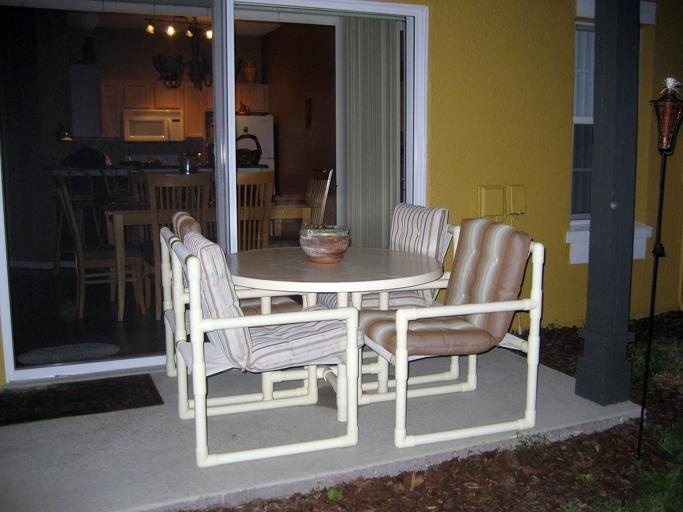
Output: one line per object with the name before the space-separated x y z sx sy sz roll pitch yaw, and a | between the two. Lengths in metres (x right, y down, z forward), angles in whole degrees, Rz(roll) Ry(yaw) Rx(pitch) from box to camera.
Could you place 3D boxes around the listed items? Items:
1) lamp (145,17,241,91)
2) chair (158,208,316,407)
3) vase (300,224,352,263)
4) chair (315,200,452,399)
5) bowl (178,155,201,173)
lamp | -1.095 -1.363 4.239 0.543 0.457 0.177 -2 10 -30
chair | -0.475 0.326 3.222 0.722 1.267 0.766 -1 9 -22
vase | -0.094 -0.078 3.464 0.196 0.223 0.218 -1 9 -34
chair | 0.234 0.270 4.108 0.719 1.324 0.720 -2 6 -23
bowl | -1.059 -0.639 4.243 0.139 0.134 0.095 0 1 -22
